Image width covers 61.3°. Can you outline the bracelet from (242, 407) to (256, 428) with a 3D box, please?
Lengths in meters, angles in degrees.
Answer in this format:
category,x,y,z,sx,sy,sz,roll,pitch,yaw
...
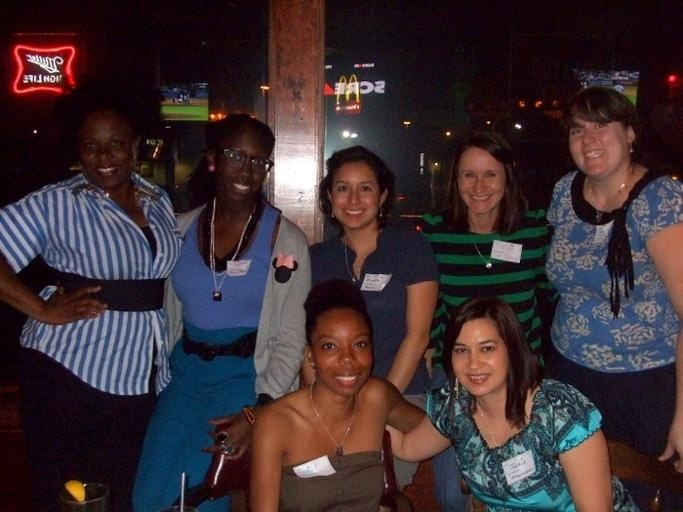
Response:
category,x,y,z,sx,sy,sz,roll,pitch,yaw
bracelet,-0.484,0.846,3.070,0.040,0.100,0.088,-39,-25,-17

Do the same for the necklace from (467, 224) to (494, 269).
category,x,y,z,sx,sy,sz,roll,pitch,yaw
necklace,0.877,-0.010,3.558,0.134,0.155,0.038,8,13,40

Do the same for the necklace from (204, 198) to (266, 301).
category,x,y,z,sx,sy,sz,roll,pitch,yaw
necklace,-0.729,-0.061,3.461,0.198,0.645,0.035,6,-20,-7

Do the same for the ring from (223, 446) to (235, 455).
category,x,y,z,sx,sy,sz,roll,pitch,yaw
ring,-0.585,1.016,2.996,0.034,0.046,0.017,0,-21,-13

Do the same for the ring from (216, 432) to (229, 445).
category,x,y,z,sx,sy,sz,roll,pitch,yaw
ring,-0.624,0.948,2.991,0.044,0.062,0.019,1,-13,0

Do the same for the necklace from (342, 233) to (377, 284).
category,x,y,z,sx,sy,sz,roll,pitch,yaw
necklace,0.072,0.014,3.501,0.152,0.266,0.065,-1,-22,3

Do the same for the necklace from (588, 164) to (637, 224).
category,x,y,z,sx,sy,sz,roll,pitch,yaw
necklace,1.484,-0.349,3.156,0.207,0.119,0.280,1,39,29

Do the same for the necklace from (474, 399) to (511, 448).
category,x,y,z,sx,sy,sz,roll,pitch,yaw
necklace,0.780,0.885,3.044,0.075,0.260,0.030,-41,-30,28
